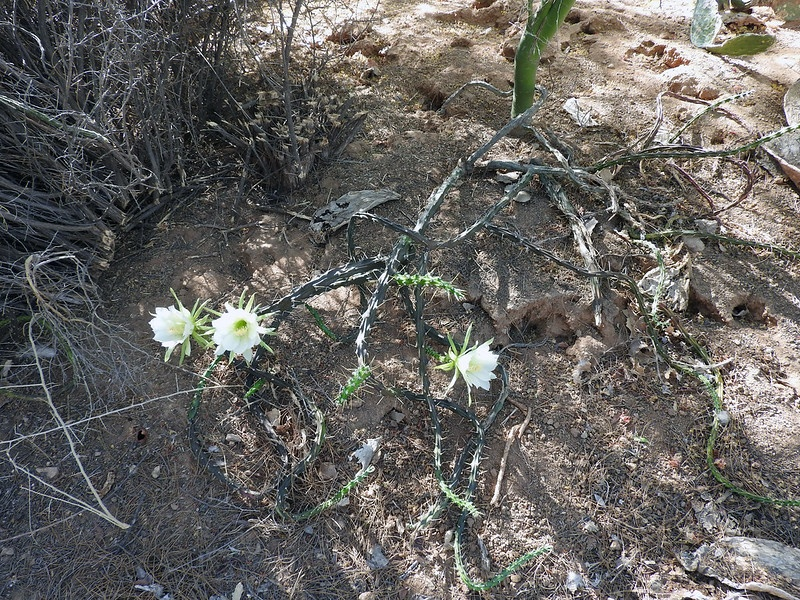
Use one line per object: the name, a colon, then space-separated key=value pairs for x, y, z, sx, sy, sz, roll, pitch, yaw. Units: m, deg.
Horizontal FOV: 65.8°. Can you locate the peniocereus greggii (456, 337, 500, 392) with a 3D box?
peniocereus greggii: x=0.292 y=0.253 z=2.410 sx=0.175 sy=0.189 sz=0.092 roll=-28 pitch=34 yaw=-21

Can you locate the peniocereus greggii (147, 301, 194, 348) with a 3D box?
peniocereus greggii: x=-0.876 y=0.093 z=2.383 sx=0.150 sy=0.122 sz=0.148 roll=-23 pitch=66 yaw=-16
